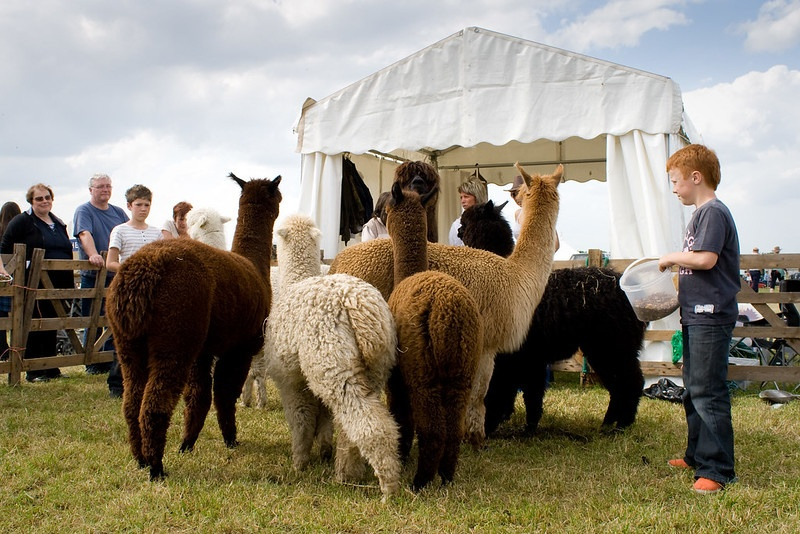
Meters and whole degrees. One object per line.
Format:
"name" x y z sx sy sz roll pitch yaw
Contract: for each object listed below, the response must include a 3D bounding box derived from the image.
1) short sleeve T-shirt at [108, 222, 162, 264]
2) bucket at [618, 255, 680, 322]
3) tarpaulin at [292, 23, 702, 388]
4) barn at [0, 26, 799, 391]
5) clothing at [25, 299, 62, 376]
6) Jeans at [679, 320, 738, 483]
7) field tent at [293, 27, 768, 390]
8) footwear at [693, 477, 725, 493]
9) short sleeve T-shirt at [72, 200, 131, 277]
"short sleeve T-shirt" -2.740 -0.238 7.794 0.473 0.454 0.256 -2 2 -41
"bucket" 2.294 0.171 7.010 0.506 0.428 0.574 -32 4 -1
"tarpaulin" 1.680 -1.991 11.642 4.685 3.155 4.843 3 2 18
"barn" 0.236 -0.182 7.837 4.550 2.894 4.662 0 2 7
"clothing" -4.416 0.889 9.583 0.530 0.909 0.887 4 4 -14
"Jeans" 2.606 1.143 6.467 0.330 1.321 0.506 0 -1 -17
"field tent" 1.000 -1.457 12.099 4.970 2.670 4.714 5 4 -32
"footwear" 2.536 1.806 6.216 0.226 0.103 0.125 -1 -1 24
"short sleeve T-shirt" -3.786 -0.356 9.628 0.423 0.962 0.850 2 6 22
